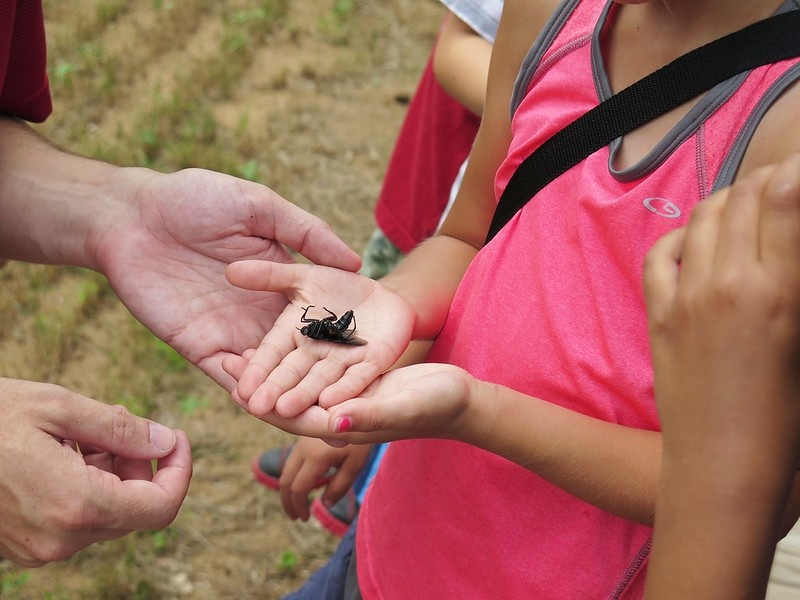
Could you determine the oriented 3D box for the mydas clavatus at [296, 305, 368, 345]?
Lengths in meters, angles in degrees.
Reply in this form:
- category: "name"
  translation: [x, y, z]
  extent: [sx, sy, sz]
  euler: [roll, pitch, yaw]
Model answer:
- category: "mydas clavatus"
  translation: [-0.272, 0.108, 2.963]
  extent: [0.174, 0.062, 0.151]
  euler: [-7, 30, -11]
